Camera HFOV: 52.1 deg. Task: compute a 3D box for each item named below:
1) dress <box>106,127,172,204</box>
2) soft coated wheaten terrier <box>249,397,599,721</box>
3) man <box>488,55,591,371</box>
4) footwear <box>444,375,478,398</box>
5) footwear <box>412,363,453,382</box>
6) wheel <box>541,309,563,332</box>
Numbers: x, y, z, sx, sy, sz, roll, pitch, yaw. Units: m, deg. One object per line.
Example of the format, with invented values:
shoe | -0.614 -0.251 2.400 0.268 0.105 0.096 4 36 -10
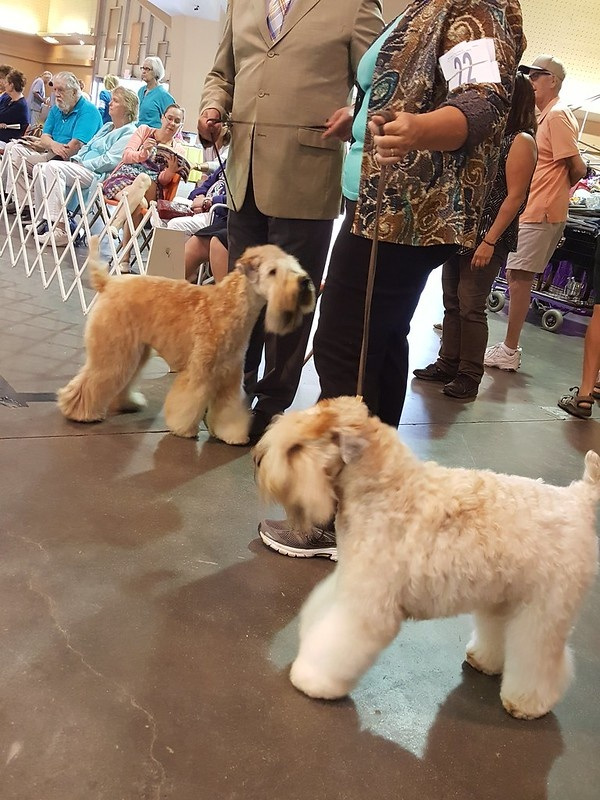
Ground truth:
dress | -1.551 -2.358 6.320 0.274 0.742 0.410 -24 24 -27
soft coated wheaten terrier | 0.217 0.280 1.524 0.913 0.718 0.481 5 10 5
man | 1.965 -1.610 5.372 0.829 2.541 0.775 10 5 7
footwear | 1.094 -0.079 4.210 0.281 0.122 0.117 4 26 -45
footwear | 0.967 -0.203 4.572 0.329 0.153 0.117 5 16 0
wheel | 2.889 -0.904 7.085 0.102 0.303 0.279 -3 17 -35
